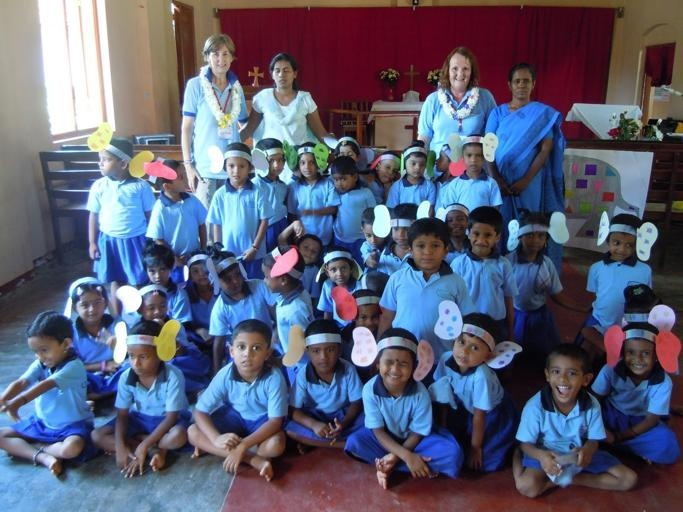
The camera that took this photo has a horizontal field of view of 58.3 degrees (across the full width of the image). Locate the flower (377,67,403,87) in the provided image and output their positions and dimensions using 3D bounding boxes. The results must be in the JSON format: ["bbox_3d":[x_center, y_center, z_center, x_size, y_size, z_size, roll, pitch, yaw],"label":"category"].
[{"bbox_3d":[0.746,-2.737,9.495,0.278,0.222,0.308,0,50,-1],"label":"flower"}]

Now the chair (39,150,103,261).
[{"bbox_3d":[-2.385,-0.403,5.539,0.519,0.894,0.498,-7,-5,-19],"label":"chair"}]
